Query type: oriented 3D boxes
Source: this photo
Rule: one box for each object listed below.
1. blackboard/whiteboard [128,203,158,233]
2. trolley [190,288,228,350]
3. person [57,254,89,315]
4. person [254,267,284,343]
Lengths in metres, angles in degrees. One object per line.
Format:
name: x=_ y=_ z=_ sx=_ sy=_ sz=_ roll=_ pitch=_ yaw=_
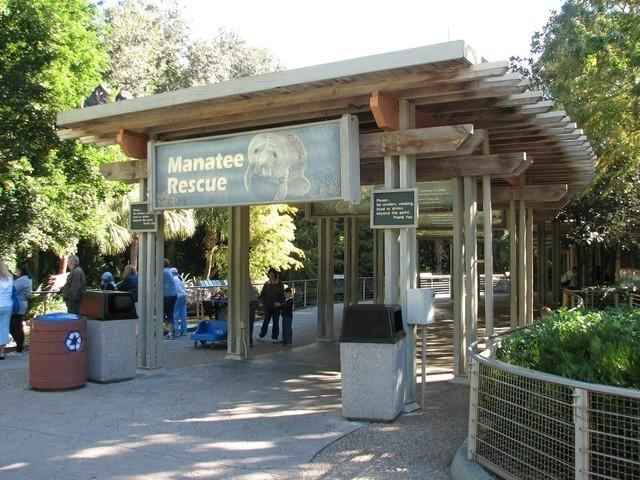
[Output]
blackboard/whiteboard: x=-3.449 y=-0.431 z=11.085 sx=0.757 sy=0.553 sz=0.225 roll=-3 pitch=2 yaw=42
trolley: x=-2.769 y=1.939 z=14.752 sx=0.896 sy=1.540 sz=0.851 roll=-5 pitch=-2 yaw=24
person: x=-5.481 y=1.004 z=12.749 sx=0.466 sy=1.319 sz=0.472 roll=-5 pitch=2 yaw=-14
person: x=-1.287 y=1.751 z=15.126 sx=0.735 sy=1.609 sz=1.978 roll=-5 pitch=2 yaw=-7
